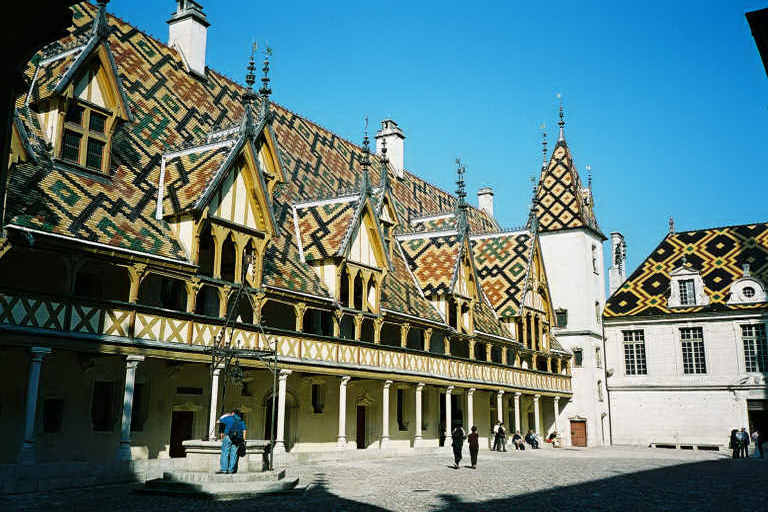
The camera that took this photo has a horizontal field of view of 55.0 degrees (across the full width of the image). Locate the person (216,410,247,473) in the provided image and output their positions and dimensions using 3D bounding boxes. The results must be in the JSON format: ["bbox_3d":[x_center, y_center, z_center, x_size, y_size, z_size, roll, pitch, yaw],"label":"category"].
[{"bbox_3d":[-4.668,5.627,22.433,0.743,1.859,1.044,3,-17,-9],"label":"person"}]

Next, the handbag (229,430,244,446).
[{"bbox_3d":[-4.474,5.535,22.398,0.338,0.445,0.470,10,-20,-31],"label":"handbag"}]

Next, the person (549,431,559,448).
[{"bbox_3d":[12.378,13.390,53.846,0.657,1.158,0.660,-3,-36,8],"label":"person"}]
